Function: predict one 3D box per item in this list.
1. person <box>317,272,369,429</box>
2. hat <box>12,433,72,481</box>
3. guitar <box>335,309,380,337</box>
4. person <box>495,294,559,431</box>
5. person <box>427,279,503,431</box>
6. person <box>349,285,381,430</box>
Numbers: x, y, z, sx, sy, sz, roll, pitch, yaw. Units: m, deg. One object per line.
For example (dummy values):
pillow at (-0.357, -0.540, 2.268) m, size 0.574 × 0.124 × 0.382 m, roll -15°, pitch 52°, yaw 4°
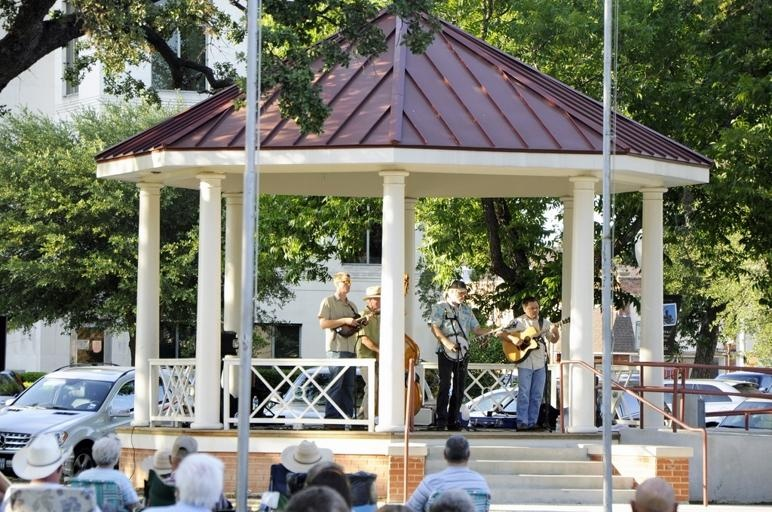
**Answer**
person at (-0.844, 1.998, 30.573) m, size 1.174 × 3.186 × 0.915 m, roll -1°, pitch 0°, yaw -42°
hat at (-5.956, 3.489, 24.945) m, size 0.732 × 0.357 × 0.879 m, roll -1°, pitch 33°, yaw 28°
guitar at (-0.620, 1.444, 30.511) m, size 0.926 × 0.561 × 0.444 m, roll -1°, pitch -7°, yaw -1°
person at (3.139, 2.244, 30.784) m, size 1.313 × 2.939 × 1.180 m, roll 3°, pitch 1°, yaw -15°
person at (1.485, 2.106, 30.244) m, size 1.236 × 3.197 × 1.142 m, roll -2°, pitch 5°, yaw -27°
person at (-0.416, 1.961, 30.741) m, size 0.649 × 2.583 × 0.603 m, roll -1°, pitch 3°, yaw 1°
